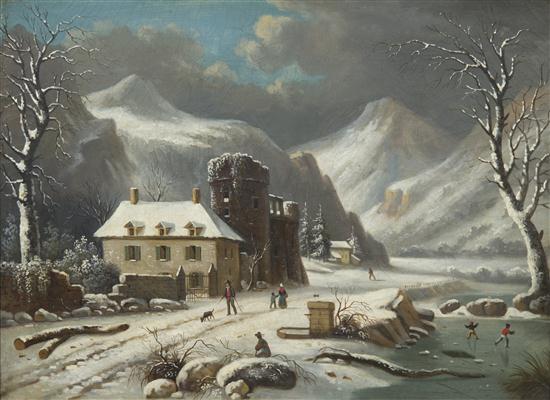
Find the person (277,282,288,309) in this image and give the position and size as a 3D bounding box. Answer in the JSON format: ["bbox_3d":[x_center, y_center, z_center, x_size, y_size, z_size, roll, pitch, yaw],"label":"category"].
[{"bbox_3d":[0.303,5.266,35.314,0.488,1.256,1.263,-5,-8,-1],"label":"person"}]

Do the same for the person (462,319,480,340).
[{"bbox_3d":[10.312,6.744,33.809,0.711,0.915,2.243,-7,-8,15],"label":"person"}]

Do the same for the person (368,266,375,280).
[{"bbox_3d":[6.265,4.850,42.347,0.554,0.975,0.437,5,-12,-8],"label":"person"}]

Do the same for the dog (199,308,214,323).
[{"bbox_3d":[-3.595,5.883,32.914,0.676,0.538,1.444,-4,-8,-5],"label":"dog"}]
